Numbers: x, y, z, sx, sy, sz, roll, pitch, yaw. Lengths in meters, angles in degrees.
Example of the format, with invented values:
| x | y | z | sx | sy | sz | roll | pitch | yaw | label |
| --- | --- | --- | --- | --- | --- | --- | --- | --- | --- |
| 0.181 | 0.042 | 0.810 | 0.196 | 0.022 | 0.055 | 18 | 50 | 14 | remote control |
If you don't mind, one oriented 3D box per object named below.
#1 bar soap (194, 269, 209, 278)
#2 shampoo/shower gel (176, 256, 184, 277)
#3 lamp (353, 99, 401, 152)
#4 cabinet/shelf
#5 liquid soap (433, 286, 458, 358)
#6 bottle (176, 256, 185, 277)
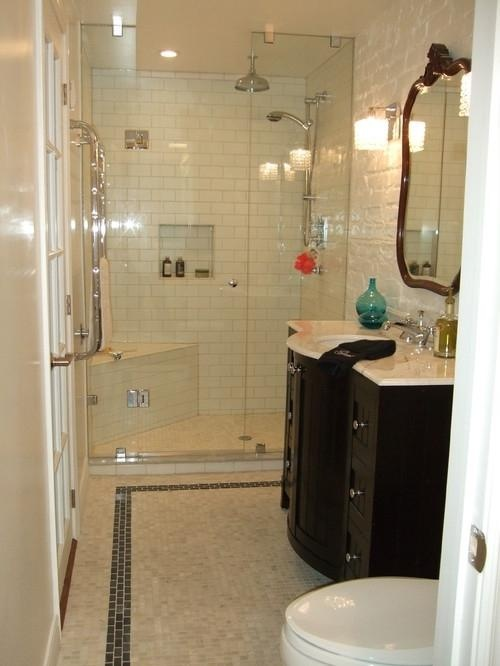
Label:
| x | y | z | sx | sy | sz | roll | pitch | yaw | label |
| --- | --- | --- | --- | --- | --- | --- | --- | --- | --- |
| -0.338 | -0.431 | 3.935 | 0.089 | 0.055 | 0.063 | 1 | 11 | 1 | bar soap |
| -0.499 | -0.468 | 3.901 | 0.073 | 0.140 | 0.022 | -1 | 7 | -18 | shampoo/shower gel |
| 0.653 | -1.075 | 2.830 | 0.253 | 0.231 | 0.154 | -3 | 14 | -9 | lamp |
| 0.402 | 0.505 | 2.280 | 0.425 | 0.840 | 0.952 | 0 | 7 | -13 | cabinet/shelf |
| 0.739 | -0.032 | 2.042 | 0.095 | 0.243 | 0.096 | 6 | 12 | 20 | liquid soap |
| -0.499 | -0.468 | 3.901 | 0.073 | 0.140 | 0.022 | -1 | 7 | -18 | bottle |
